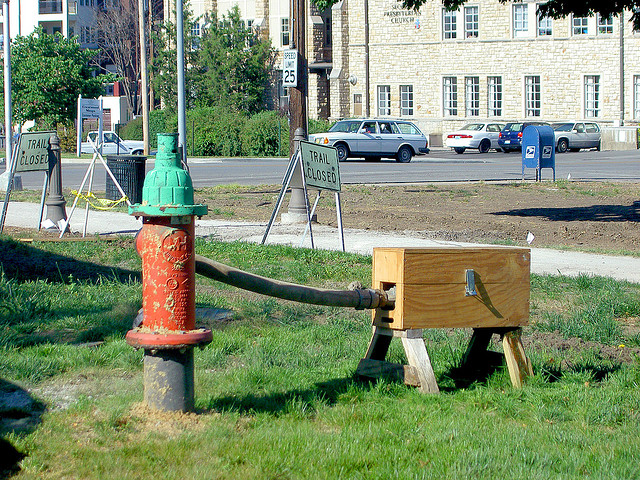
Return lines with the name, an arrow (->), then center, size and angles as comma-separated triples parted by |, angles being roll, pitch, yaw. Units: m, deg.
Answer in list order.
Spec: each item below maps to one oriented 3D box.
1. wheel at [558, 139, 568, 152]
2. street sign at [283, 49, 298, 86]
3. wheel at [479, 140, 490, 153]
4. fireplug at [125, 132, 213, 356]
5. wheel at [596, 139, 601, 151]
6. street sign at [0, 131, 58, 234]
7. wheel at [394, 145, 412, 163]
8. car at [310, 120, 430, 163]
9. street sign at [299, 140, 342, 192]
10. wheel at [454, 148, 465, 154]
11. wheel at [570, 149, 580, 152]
wheel -> 10.079, -3.930, 44.987 | 0.255, 0.566, 0.643 | 9, 14, 34
street sign -> -0.517, -3.071, 19.270 | 0.364, 0.656, 0.254 | -5, 12, -30
wheel -> 6.926, -3.987, 45.805 | 0.313, 0.557, 0.726 | 8, 13, 30
fireplug -> -1.308, 0.037, 9.336 | 0.704, 1.868, 0.575 | 0, 10, -8
wheel -> 12.084, -4.096, 46.793 | 0.107, 0.413, 0.262 | 10, 8, 4
street sign -> -4.662, -0.963, 17.350 | 0.867, 1.588, 1.501 | -1, 12, -15
wheel -> 2.924, -3.051, 38.130 | 0.606, 0.629, 0.596 | 2, 12, 0
car -> 2.008, -3.550, 38.691 | 3.692, 1.568, 2.187 | 1, 2, -2
street sign -> 0.009, -1.086, 15.992 | 0.037, 0.704, 0.814 | -18, -17, 41
wheel -> 5.969, -3.819, 46.305 | 0.277, 0.284, 0.352 | 1, -1, 13
wheel -> 10.789, -3.817, 45.982 | 0.325, 0.114, 0.743 | 7, 14, 20
